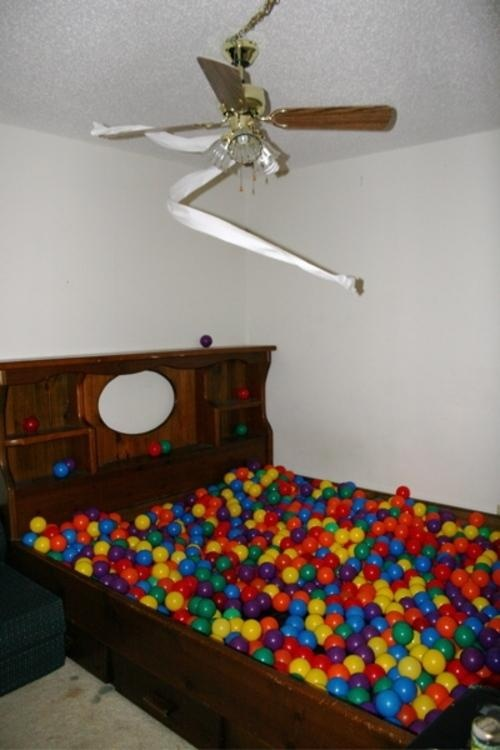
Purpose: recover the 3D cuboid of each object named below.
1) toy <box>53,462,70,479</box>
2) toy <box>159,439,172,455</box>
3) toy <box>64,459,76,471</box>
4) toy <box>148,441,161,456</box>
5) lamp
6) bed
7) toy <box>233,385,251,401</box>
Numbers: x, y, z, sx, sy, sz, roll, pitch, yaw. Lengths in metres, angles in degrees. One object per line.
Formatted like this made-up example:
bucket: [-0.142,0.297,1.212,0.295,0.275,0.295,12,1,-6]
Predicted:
toy: [-0.918,0.465,2.923,0.073,0.082,0.071,7,-25,8]
toy: [-0.499,0.423,3.527,0.068,0.078,0.067,8,4,-24]
toy: [-0.905,0.452,3.040,0.049,0.048,0.058,-33,28,4]
toy: [-0.532,0.416,3.446,0.069,0.077,0.068,3,-9,8]
lamp: [0.017,-0.680,1.693,0.188,0.191,0.184,16,36,-12]
bed: [-0.152,0.656,2.553,1.607,0.964,1.609,-4,6,-43]
toy: [-0.059,0.121,4.107,0.093,0.086,0.091,7,-10,-28]
